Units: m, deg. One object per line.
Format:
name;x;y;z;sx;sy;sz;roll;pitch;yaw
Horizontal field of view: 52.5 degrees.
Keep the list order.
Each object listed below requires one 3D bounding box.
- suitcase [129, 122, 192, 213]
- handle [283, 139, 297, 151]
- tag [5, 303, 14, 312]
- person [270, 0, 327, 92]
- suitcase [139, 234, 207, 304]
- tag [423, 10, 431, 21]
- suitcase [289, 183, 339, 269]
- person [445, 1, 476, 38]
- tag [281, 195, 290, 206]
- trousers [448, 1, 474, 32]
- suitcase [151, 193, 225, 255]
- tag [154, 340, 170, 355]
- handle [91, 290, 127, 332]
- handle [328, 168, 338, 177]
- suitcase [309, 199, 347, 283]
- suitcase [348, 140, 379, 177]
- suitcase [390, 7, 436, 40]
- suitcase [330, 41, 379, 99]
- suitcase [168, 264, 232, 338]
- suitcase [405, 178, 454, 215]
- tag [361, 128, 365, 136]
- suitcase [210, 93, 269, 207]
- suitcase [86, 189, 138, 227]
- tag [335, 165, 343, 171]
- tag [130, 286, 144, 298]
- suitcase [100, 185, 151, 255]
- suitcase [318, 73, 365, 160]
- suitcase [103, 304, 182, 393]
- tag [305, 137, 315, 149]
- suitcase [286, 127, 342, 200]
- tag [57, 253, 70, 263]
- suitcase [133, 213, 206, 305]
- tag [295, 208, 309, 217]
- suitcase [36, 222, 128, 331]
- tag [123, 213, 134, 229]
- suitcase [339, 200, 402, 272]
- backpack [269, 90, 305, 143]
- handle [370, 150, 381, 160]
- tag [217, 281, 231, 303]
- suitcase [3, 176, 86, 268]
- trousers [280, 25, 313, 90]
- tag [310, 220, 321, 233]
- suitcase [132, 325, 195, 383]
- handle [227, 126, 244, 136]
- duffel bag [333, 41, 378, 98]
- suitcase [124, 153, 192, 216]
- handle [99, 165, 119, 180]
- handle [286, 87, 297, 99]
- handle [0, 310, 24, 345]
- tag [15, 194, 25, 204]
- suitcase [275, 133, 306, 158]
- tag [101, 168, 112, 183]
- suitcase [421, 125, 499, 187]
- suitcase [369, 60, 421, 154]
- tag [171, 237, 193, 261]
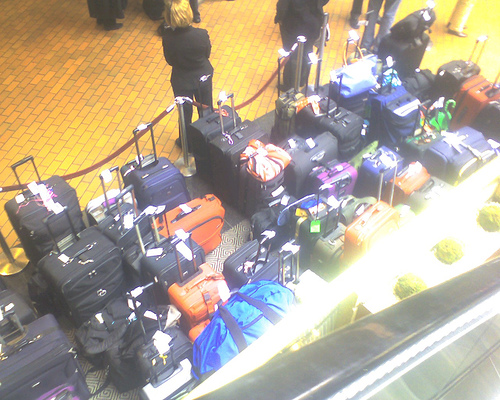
suitcase;-1.066;-0.323;6.041;0.656;1.066;0.643;-38;67;-23
handle;0.478;-0.667;6.139;0.032;0.144;0.131;11;8;24
tag;-2.175;0.964;4.563;0.021;0.087;0.088;38;72;-10
person;0.727;-2.204;7.377;0.496;1.642;0.674;-19;73;-1
suitcase;-0.777;0.710;5.052;0.424;0.590;0.316;-31;61;-25
tag;2.535;-2.655;7.302;0.088;0.038;0.170;-5;75;-6
suitcase;0.579;0.205;5.615;0.376;1.064;0.316;18;44;11
person;3.774;-3.210;9.085;0.218;0.723;0.210;9;76;13
tag;0.394;0.002;5.809;0.061;0.028;0.100;10;74;14
trousers;3.714;-3.263;8.960;0.326;0.572;0.251;17;49;19
suitcase;-0.655;0.416;5.965;0.750;0.754;0.413;-33;49;-27
tag;-0.760;1.257;4.353;0.096;0.152;0.087;-29;52;15
handle;-1.423;1.112;5.236;0.315;0.084;0.331;-21;36;49
handle;0.973;-0.329;5.988;0.092;0.074;0.109;20;89;-19
suitcase;0.796;0.420;5.254;0.458;0.800;0.276;-33;60;-31
suitcase;1.521;-0.548;6.593;0.430;0.116;0.340;-39;35;11
suitcase;2.459;-2.752;7.633;0.540;0.468;0.624;19;52;20
suitcase;1.445;-1.757;6.785;0.634;0.667;0.248;-9;11;36
suitcase;-0.489;0.955;4.725;0.370;0.564;0.302;-36;73;-30
suitcase;2.052;-0.062;5.803;0.613;0.157;0.253;-32;54;-22
tag;1.487;-0.911;6.708;0.055;0.099;0.058;0;90;10
suitcase;-0.153;-0.571;6.338;0.801;1.515;0.516;-37;63;-25
suitcase;-1.508;0.098;5.578;0.285;0.277;0.466;-19;5;43
tag;1.055;-0.376;5.978;0.054;0.016;0.062;3;82;-8
tag;-0.945;0.757;4.229;0.067;0.085;0.129;20;16;21
suitcase;-1.345;0.237;5.431;0.262;0.573;0.366;39;60;6
suitcase;1.222;-1.062;6.705;0.536;1.084;0.689;-27;43;-26
suitcase;-0.995;1.412;4.737;0.353;0.650;0.681;41;62;16
tag;0.733;-0.687;6.105;0.083;0.122;0.032;-25;15;-28
suitcase;0.768;-0.410;6.072;0.638;0.606;0.225;-37;54;-24
tag;-1.845;0.571;5.017;0.114;0.017;0.074;26;56;24
suitcase;-0.814;0.598;5.274;0.415;1.138;0.654;32;50;34
tag;0.556;0.135;5.555;0.060;0.099;0.112;-12;68;38
suitcase;-1.695;0.783;5.161;0.617;0.903;0.452;-39;72;-23
tag;-1.261;0.224;5.249;0.112;0.192;0.114;-7;82;-6
suitcase;0.975;0.282;4.169;0.401;0.645;0.226;-40;72;-20
backpack;0.496;-1.085;6.748;0.335;0.724;0.515;16;51;2
handle;1.513;-0.541;6.128;0.032;0.108;0.115;30;99;35
tag;-0.253;0.826;4.593;0.034;0.153;0.169;-19;77;32
suitcase;-2.250;0.279;5.522;0.454;0.851;0.531;43;61;15
trousers;0.798;-2.274;7.764;0.213;0.293;1.033;-15;46;25
tag;0.687;0.275;5.385;0.100;0.058;0.189;2;71;0
suitcase;-0.788;1.405;4.616;0.368;0.373;0.279;-30;56;-24
handle;-0.177;-0.863;6.354;0.160;0.059;0.041;-34;94;-16
duffel bag;1.406;-1.748;6.778;0.593;0.668;0.275;-14;17;-1
suitcase;-1.083;-0.160;5.929;0.404;0.688;0.392;-31;82;-19
handle;-1.470;-0.284;5.365;0.128;0.036;0.146;-1;87;31
handle;0.542;-1.398;6.654;0.141;0.084;0.274;2;49;6
handle;-2.140;1.149;4.538;0.183;0.265;0.163;-25;33;-29
tag;-2.403;-0.012;5.272;0.072;0.087;0.019;3;8;9
suitcase;0.577;-0.720;6.292;0.251;0.096;0.274;-40;15;-24
tag;-1.456;-0.244;5.137;0.096;0.058;0.145;-15;58;-27
suitcase;2.591;-0.507;6.221;0.775;0.384;0.594;-22;50;-15
suitcase;1.906;-1.186;6.727;0.522;1.373;0.606;-31;54;-18
tag;-0.651;0.472;4.900;0.131;0.235;0.055;-38;25;2
